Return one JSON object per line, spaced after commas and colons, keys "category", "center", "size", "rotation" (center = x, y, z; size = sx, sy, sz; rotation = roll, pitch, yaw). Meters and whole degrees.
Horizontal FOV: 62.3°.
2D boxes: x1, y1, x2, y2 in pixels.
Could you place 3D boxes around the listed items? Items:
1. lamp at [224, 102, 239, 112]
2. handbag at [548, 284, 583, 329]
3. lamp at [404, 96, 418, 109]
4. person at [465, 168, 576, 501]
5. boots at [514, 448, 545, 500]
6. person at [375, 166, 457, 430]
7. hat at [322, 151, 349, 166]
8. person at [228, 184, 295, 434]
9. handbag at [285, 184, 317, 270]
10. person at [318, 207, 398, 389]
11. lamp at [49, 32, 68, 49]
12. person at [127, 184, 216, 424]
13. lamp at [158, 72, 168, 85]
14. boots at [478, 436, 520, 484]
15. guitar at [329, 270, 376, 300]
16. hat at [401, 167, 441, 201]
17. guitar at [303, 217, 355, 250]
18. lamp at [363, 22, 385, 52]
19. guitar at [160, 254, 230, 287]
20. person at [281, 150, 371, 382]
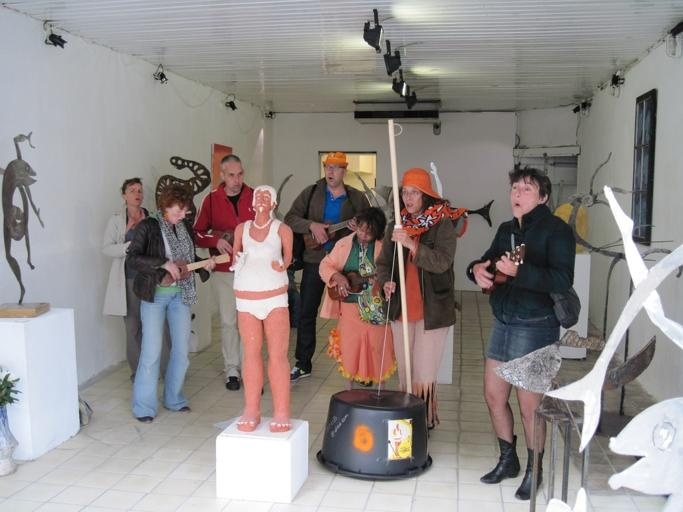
{"category": "lamp", "center": [-1.569, -2.160, 8.048], "size": [0.157, 0.100, 0.161], "rotation": [-15, -37, 9]}
{"category": "handbag", "center": [1.292, 0.306, 3.254], "size": [0.140, 0.210, 0.125], "rotation": [-12, 19, -6]}
{"category": "lamp", "center": [0.833, -1.856, 6.873], "size": [0.180, 0.084, 0.331], "rotation": [5, 22, 12]}
{"category": "person", "center": [1.062, 0.467, 3.449], "size": [0.505, 1.986, 0.526], "rotation": [0, 7, -3]}
{"category": "boots", "center": [1.134, 1.338, 3.445], "size": [0.097, 0.272, 0.263], "rotation": [9, 18, 44]}
{"category": "person", "center": [0.519, 0.384, 4.005], "size": [0.556, 1.975, 0.612], "rotation": [2, 7, 10]}
{"category": "hat", "center": [-0.038, -0.871, 5.155], "size": [0.170, 0.089, 0.220], "rotation": [4, 12, 9]}
{"category": "person", "center": [-0.496, 0.318, 3.508], "size": [0.367, 1.483, 0.352], "rotation": [-1, 7, -7]}
{"category": "handbag", "center": [-0.395, -0.256, 5.195], "size": [0.095, 0.747, 0.314], "rotation": [2, 29, -29]}
{"category": "person", "center": [0.142, 0.401, 4.240], "size": [0.614, 1.493, 0.594], "rotation": [7, 21, 12]}
{"category": "lamp", "center": [-2.355, -1.774, 4.675], "size": [0.086, 0.050, 0.114], "rotation": [-4, 35, -42]}
{"category": "person", "center": [-1.389, 0.377, 4.417], "size": [0.532, 1.833, 0.398], "rotation": [-2, 7, -20]}
{"category": "lamp", "center": [-1.966, -1.947, 6.210], "size": [0.157, 0.095, 0.231], "rotation": [-1, 6, -16]}
{"category": "boots", "center": [1.008, 1.306, 3.624], "size": [0.267, 0.283, 0.125], "rotation": [-10, 15, -11]}
{"category": "guitar", "center": [0.076, 0.230, 4.190], "size": [0.364, 0.208, 0.127], "rotation": [4, 8, 24]}
{"category": "hat", "center": [0.568, -0.509, 3.990], "size": [0.213, 0.161, 0.286], "rotation": [4, -11, 38]}
{"category": "guitar", "center": [-0.138, -0.200, 5.077], "size": [0.464, 0.223, 0.072], "rotation": [-18, -8, 15]}
{"category": "lamp", "center": [0.247, -1.782, 4.558], "size": [0.135, 0.256, 0.407], "rotation": [1, 8, 2]}
{"category": "guitar", "center": [-1.027, 0.084, 4.145], "size": [0.658, 0.248, 0.248], "rotation": [8, 11, 41]}
{"category": "person", "center": [-0.095, 0.110, 5.398], "size": [0.828, 2.162, 0.641], "rotation": [-2, 19, -16]}
